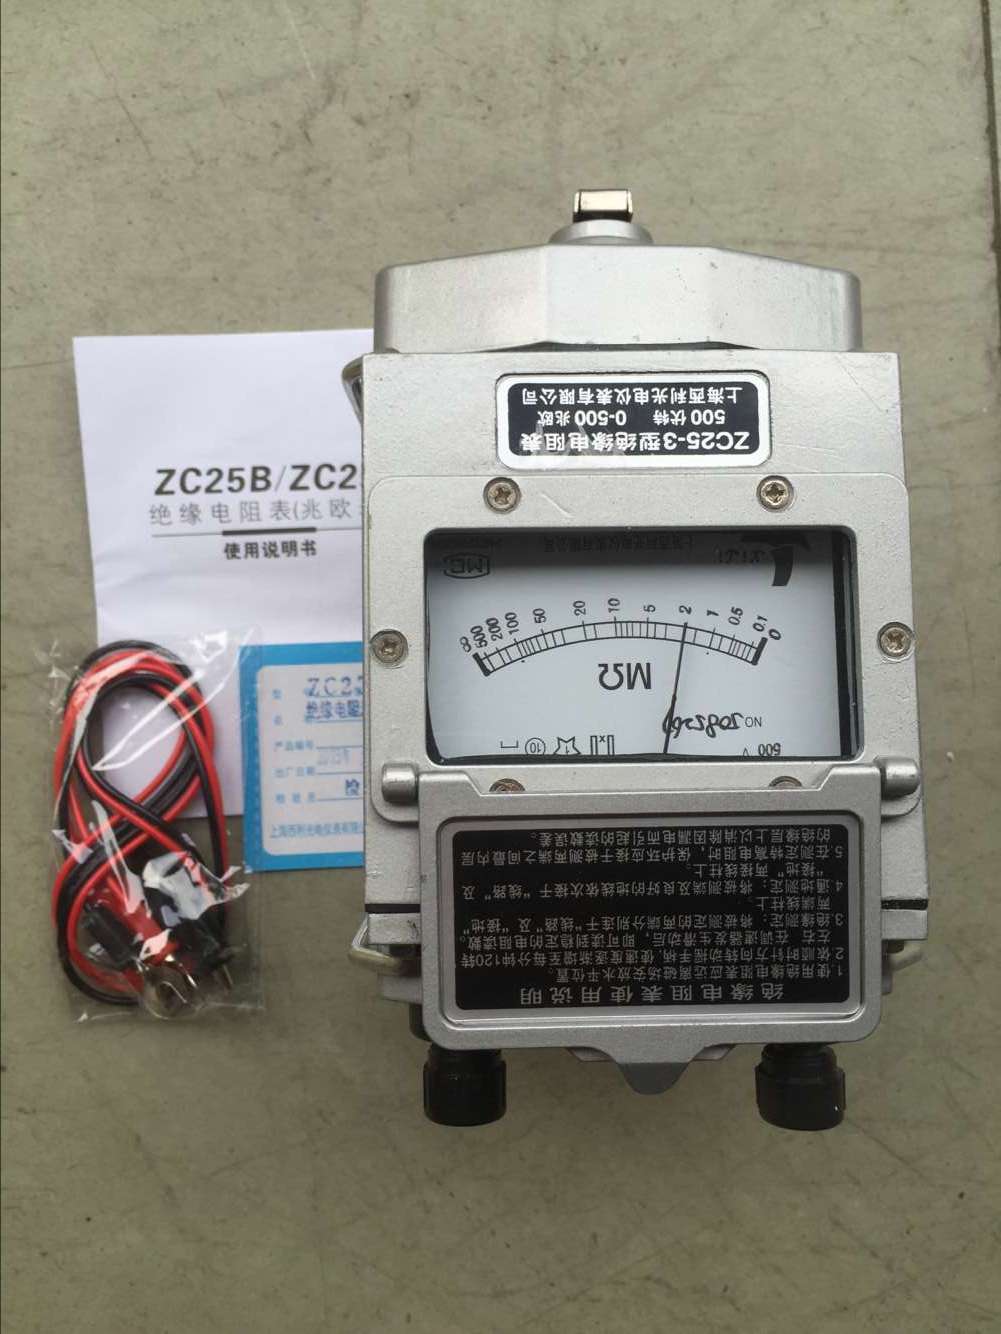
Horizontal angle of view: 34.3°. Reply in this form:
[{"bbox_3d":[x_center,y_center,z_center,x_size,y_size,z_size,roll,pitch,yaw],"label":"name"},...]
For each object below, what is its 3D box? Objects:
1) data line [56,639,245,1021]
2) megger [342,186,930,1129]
[{"bbox_3d":[-0.267,0.115,1.198,0.150,0.056,0.276,-2,81,-11],"label":"data line"},{"bbox_3d":[0.085,0.007,1.150,0.413,0.359,0.558,-4,98,-13],"label":"megger"}]
